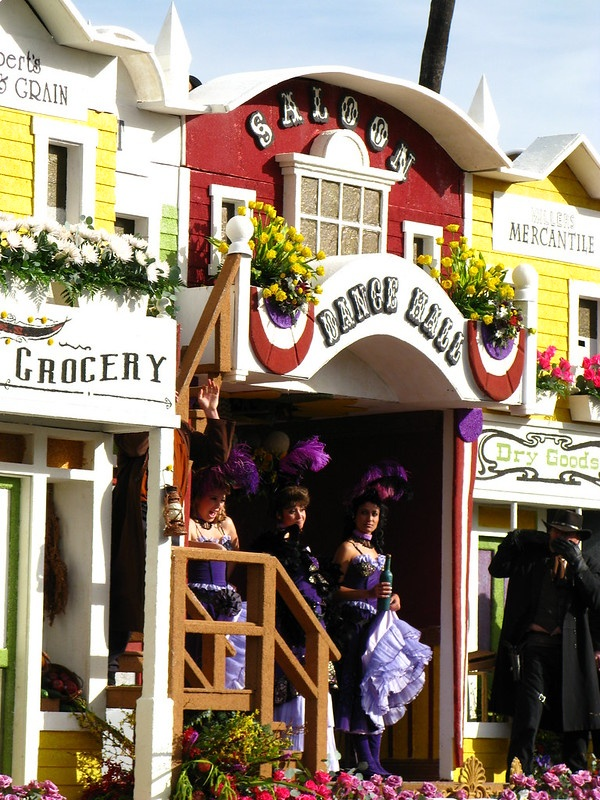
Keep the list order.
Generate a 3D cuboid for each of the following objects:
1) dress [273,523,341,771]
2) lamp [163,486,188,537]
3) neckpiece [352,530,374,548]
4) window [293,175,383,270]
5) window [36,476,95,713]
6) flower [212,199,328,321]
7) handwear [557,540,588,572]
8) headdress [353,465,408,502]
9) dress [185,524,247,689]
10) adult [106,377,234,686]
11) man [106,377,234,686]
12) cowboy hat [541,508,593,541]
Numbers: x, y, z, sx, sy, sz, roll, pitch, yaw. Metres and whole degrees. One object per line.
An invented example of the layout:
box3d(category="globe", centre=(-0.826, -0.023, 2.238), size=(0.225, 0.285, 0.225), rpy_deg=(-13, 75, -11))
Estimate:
box3d(category="dress", centre=(0.032, 1.553, 14.821), size=(0.257, 1.518, 1.435), rpy_deg=(-3, -9, 17))
box3d(category="lamp", centre=(-0.706, 0.636, 13.648), size=(0.138, 0.284, 0.179), rpy_deg=(4, -3, -6))
box3d(category="neckpiece", centre=(0.417, 0.940, 16.249), size=(0.107, 0.083, 0.104), rpy_deg=(-11, -8, 41))
box3d(category="window", centre=(0.289, -1.264, 17.164), size=(0.816, 0.569, 0.039), rpy_deg=(13, 16, 41))
box3d(category="window", centre=(-1.391, 1.081, 14.354), size=(0.542, 1.046, 0.221), rpy_deg=(-1, 2, -37))
box3d(category="flower", centre=(-0.211, -0.912, 15.761), size=(0.755, 0.820, 1.098), rpy_deg=(4, -3, -1))
box3d(category="handwear", centre=(1.850, 1.074, 16.417), size=(0.131, 0.228, 0.170), rpy_deg=(-32, 29, 13))
box3d(category="headdress", centre=(0.565, 0.578, 16.751), size=(0.281, 0.140, 0.287), rpy_deg=(-19, -14, 32))
box3d(category="dress", centre=(-0.527, 1.237, 14.813), size=(0.345, 0.976, 0.312), rpy_deg=(-3, 5, -4))
box3d(category="adult", centre=(-0.845, 0.793, 14.621), size=(0.646, 1.837, 0.763), rpy_deg=(-2, 1, -34))
box3d(category="man", centre=(-0.863, 0.797, 14.581), size=(0.608, 1.783, 0.757), rpy_deg=(-6, -13, 44))
box3d(category="cowboy hat", centre=(1.848, 0.864, 16.790), size=(0.294, 0.133, 0.351), rpy_deg=(21, -2, 17))
